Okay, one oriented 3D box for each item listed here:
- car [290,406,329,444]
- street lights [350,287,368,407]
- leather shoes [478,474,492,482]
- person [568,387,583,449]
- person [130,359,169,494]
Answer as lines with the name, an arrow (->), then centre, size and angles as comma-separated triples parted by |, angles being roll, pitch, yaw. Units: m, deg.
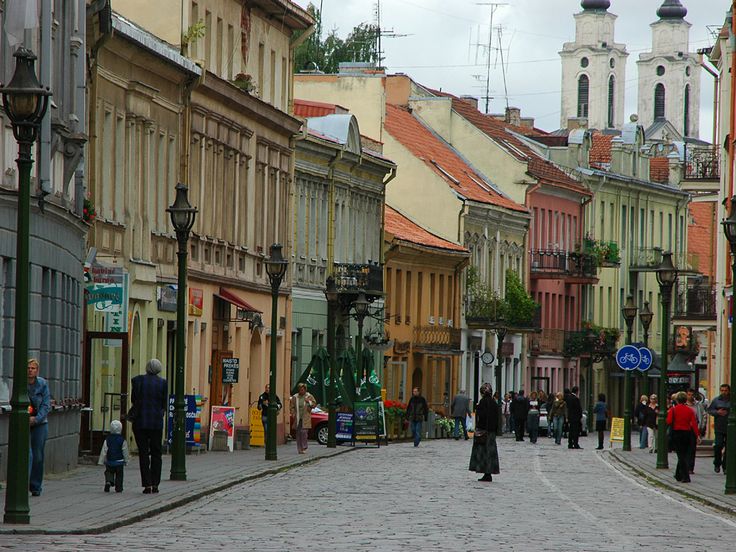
car -> -1.940, 4.713, 52.964 | 1.434, 0.860, 0.921 | 4, -5, -5
street lights -> -0.213, 2.148, 51.970 | 0.478, 3.390, 0.556 | 8, -18, -22
leather shoes -> 2.477, 4.259, 35.486 | 0.312, 0.284, 0.142 | 3, -1, 14
person -> 7.206, 4.828, 58.195 | 0.646, 2.181, 0.542 | 9, 14, 43
person -> -3.817, 2.610, 29.405 | 0.646, 2.401, 0.975 | 1, -8, -8
